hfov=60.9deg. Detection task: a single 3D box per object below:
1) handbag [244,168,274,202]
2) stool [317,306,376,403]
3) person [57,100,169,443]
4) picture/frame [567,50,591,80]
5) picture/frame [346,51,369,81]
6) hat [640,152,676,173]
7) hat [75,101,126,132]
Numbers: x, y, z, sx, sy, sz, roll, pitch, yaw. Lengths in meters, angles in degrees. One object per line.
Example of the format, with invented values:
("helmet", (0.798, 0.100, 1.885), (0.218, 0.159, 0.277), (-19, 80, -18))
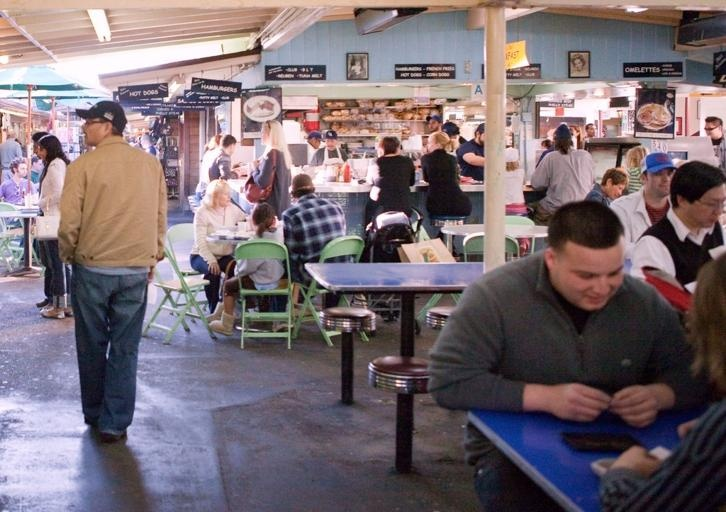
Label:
("handbag", (-1.493, -0.975, 8.787), (0.566, 0.495, 0.222), (9, 13, 41))
("stool", (-0.115, 0.803, 5.163), (0.422, 0.738, 0.475), (7, 11, 31))
("person", (-1.706, 0.229, 4.293), (0.679, 2.081, 0.430), (-4, 11, -24))
("picture/frame", (4.813, -4.273, 13.747), (0.716, 0.699, 0.050), (0, 1, -5))
("picture/frame", (-0.135, -4.074, 13.216), (0.730, 0.697, 0.056), (1, -2, -10))
("hat", (1.890, -0.583, 3.957), (0.156, 0.098, 0.196), (-1, 2, -8))
("hat", (-1.869, -1.027, 4.430), (0.348, 0.171, 0.228), (-10, 21, 7))
